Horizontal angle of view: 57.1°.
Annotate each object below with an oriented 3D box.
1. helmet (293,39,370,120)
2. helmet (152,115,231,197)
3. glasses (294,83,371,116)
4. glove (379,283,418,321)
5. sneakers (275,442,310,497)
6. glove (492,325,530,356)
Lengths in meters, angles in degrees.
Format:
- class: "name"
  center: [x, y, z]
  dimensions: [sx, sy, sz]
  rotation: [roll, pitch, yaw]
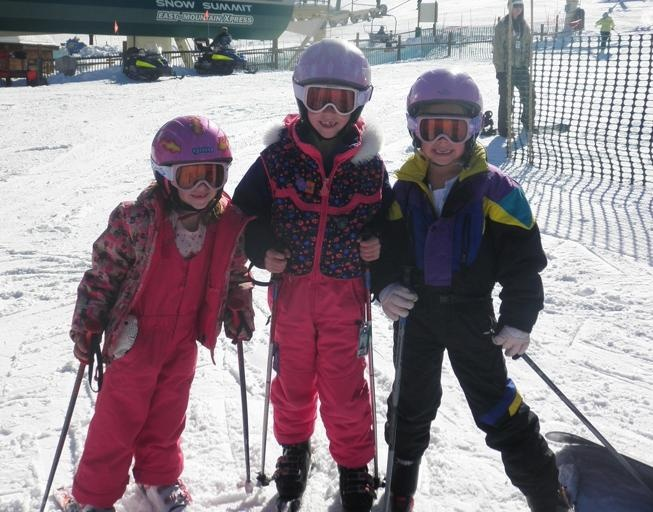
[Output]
- class: "helmet"
  center: [0.032, -1.016, 3.481]
  dimensions: [0.372, 0.369, 0.441]
  rotation: [0, 16, -2]
- class: "helmet"
  center: [-0.779, -0.579, 3.378]
  dimensions: [0.361, 0.396, 0.431]
  rotation: [-5, 22, -27]
- class: "glasses"
  center: [0.040, -0.874, 3.369]
  dimensions: [0.422, 0.171, 0.204]
  rotation: [0, 17, 5]
- class: "glove"
  center: [0.401, 0.233, 3.347]
  dimensions: [0.174, 0.214, 0.314]
  rotation: [13, 13, 7]
- class: "sneakers"
  center: [-0.198, 1.235, 3.497]
  dimensions: [0.116, 0.163, 0.366]
  rotation: [-1, 11, 5]
- class: "glove"
  center: [0.972, 0.456, 3.163]
  dimensions: [0.178, 0.184, 0.101]
  rotation: [3, 17, 15]
